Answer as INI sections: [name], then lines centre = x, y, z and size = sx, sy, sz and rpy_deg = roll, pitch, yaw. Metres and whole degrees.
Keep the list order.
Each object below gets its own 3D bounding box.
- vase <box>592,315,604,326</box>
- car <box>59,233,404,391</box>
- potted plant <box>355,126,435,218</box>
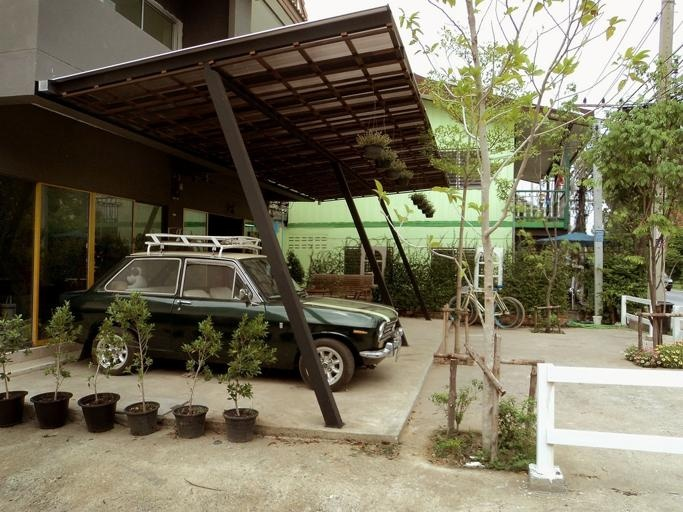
[vase]
centre = 8.325, 2.058, 16.039
size = 0.369, 0.254, 0.359
rpy_deg = 0, -1, -42
[car]
centre = -1.617, 0.749, 8.017
size = 4.928, 1.814, 2.637
rpy_deg = 0, -1, 7
[potted plant]
centre = 1.074, -1.633, 9.755
size = 0.769, 0.520, 3.287
rpy_deg = 9, -14, 28
